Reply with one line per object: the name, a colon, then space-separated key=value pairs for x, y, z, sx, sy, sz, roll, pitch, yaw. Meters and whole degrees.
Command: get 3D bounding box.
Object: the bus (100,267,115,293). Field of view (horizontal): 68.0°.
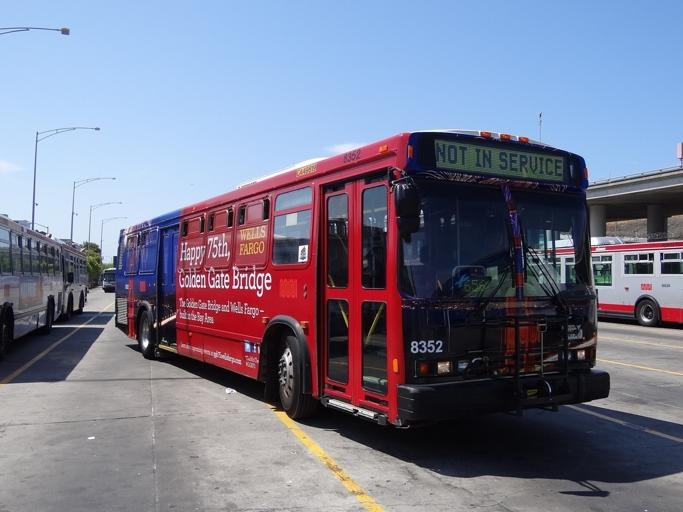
bus: x=-28.917 y=3.180 z=62.920 sx=1.142 sy=2.736 sz=4.082 roll=1 pitch=-2 yaw=-27
